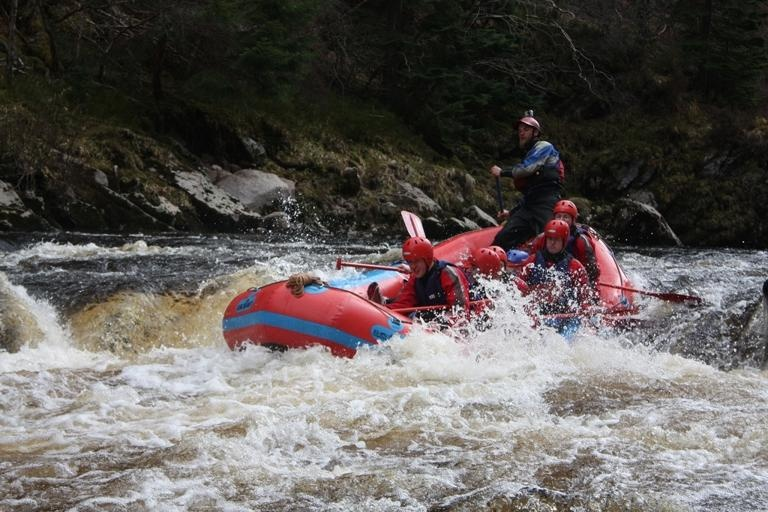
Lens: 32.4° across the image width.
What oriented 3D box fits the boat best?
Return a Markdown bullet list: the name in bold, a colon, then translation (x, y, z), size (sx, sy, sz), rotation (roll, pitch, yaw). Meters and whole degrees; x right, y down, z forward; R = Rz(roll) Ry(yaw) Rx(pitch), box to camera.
- **boat**: translation (1.069, 0.849, 38.388), size (11.794, 2.556, 5.384), rotation (-9, 13, -11)
